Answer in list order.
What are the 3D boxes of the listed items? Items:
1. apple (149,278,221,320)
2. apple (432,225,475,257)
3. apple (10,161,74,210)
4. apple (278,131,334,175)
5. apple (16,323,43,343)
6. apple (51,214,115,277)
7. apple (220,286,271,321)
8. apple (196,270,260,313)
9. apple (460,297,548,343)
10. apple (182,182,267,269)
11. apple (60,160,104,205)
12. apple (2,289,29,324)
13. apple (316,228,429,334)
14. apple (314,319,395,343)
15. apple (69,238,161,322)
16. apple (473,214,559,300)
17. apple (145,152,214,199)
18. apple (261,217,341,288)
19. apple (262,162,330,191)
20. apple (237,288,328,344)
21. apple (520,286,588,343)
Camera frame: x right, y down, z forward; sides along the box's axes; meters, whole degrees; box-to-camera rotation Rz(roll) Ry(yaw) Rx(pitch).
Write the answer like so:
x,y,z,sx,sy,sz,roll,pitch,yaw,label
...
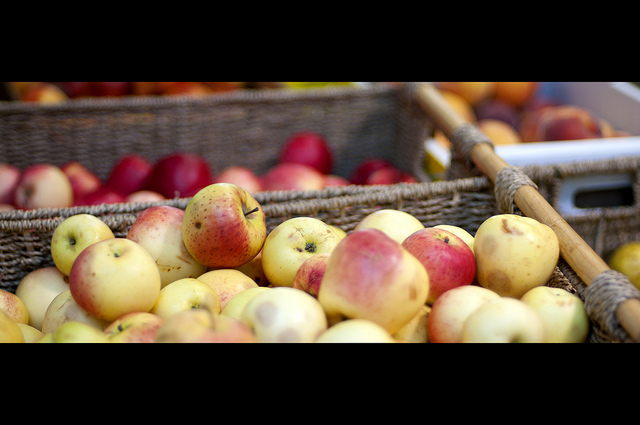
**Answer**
x,y,z,sx,sy,sz,roll,pitch,yaw,label
-0.293,0.183,1.222,0.114,0.104,0.094,18,-10,-35,apple
0.333,0.087,1.397,0.071,0.071,0.071,14,13,-44,apple
-0.819,-0.071,1.686,0.154,0.125,0.311,-8,16,-38,apple
-0.034,-0.224,2.209,0.163,0.222,0.174,7,-2,15,apple
-0.593,0.246,1.150,0.051,0.034,0.045,13,-7,12,apple
-0.570,0.097,1.369,0.161,0.179,0.166,-4,-8,-4,apple
-0.157,0.188,1.204,0.086,0.077,0.071,-13,-8,-41,apple
-0.214,0.161,1.296,0.108,0.099,0.098,-3,-31,-5,apple
0.352,0.212,1.085,0.101,0.110,0.106,-4,-19,-16,apple
-0.218,0.037,1.303,0.194,0.194,0.093,-2,12,-16,apple
-0.773,-0.094,1.823,0.126,0.116,0.109,11,8,-14,apple
-0.668,0.210,1.239,0.035,0.063,0.039,-29,23,-5,apple
0.113,0.161,1.138,0.126,0.131,0.119,-4,5,-39,apple
0.065,0.225,1.041,0.145,0.037,0.084,2,12,-2,apple
-0.444,0.150,1.233,0.158,0.169,0.160,-2,33,-18,apple
0.462,0.085,1.340,0.179,0.209,0.202,-1,18,19,apple
-0.456,-0.114,1.798,0.140,0.121,0.120,-5,-35,-40,apple
-0.048,0.077,1.329,0.150,0.170,0.159,-7,7,-12,apple
-0.078,-0.093,1.929,0.144,0.089,0.155,-1,0,19,apple
-0.058,0.195,1.067,0.126,0.117,0.109,-1,22,-12,apple
0.528,0.222,1.199,0.096,0.103,0.101,-20,-9,14,apple
